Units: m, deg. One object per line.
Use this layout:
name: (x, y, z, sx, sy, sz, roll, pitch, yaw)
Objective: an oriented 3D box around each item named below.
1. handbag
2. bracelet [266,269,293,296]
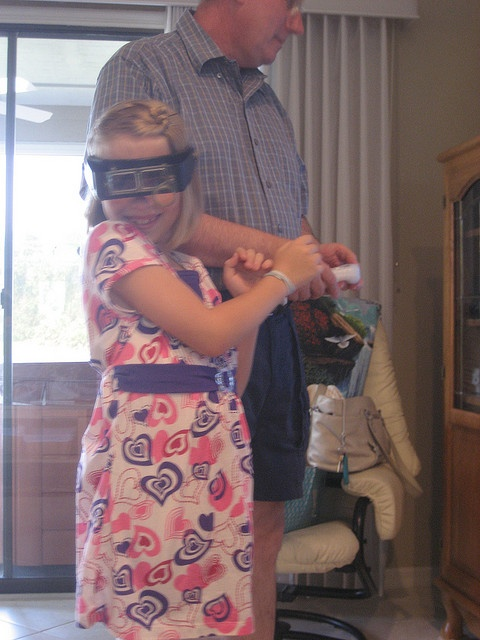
handbag: (0.319, 0.344, 2.153, 0.247, 0.177, 0.230, 5, -11, -28)
bracelet: (0.073, -0.071, 1.230, 0.011, 0.040, 0.041, -42, 8, 5)
